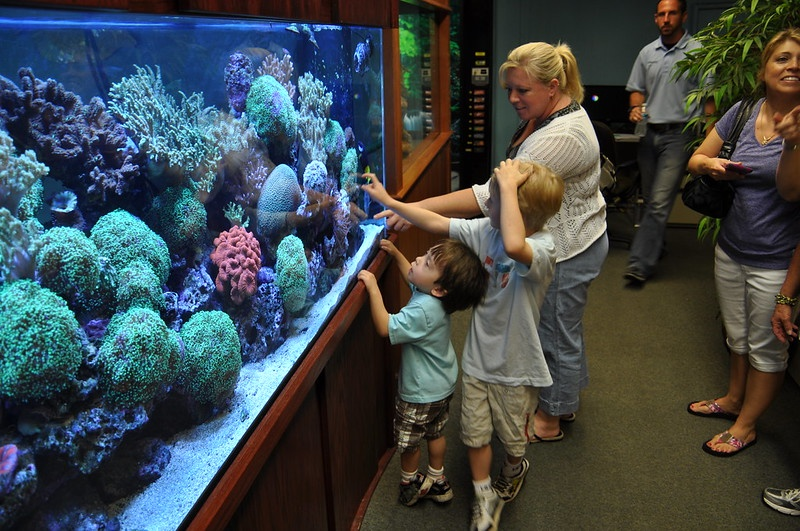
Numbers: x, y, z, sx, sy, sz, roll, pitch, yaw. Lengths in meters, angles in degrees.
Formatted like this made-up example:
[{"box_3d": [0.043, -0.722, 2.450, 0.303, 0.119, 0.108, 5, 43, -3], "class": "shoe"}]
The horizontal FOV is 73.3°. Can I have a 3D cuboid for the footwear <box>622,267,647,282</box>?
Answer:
[{"box_3d": [1.859, 0.064, 4.248, 0.085, 0.096, 0.204, -1, -4, 38], "class": "footwear"}]

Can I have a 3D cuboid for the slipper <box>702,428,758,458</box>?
[{"box_3d": [1.549, 0.859, 2.570, 0.255, 0.082, 0.110, -11, 35, 7], "class": "slipper"}]

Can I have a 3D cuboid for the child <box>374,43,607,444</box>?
[{"box_3d": [0.481, 0.042, 2.577, 0.744, 1.988, 0.934, 9, 18, 10], "class": "child"}]

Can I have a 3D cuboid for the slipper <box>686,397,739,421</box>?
[{"box_3d": [1.634, 0.752, 2.823, 0.235, 0.078, 0.095, 7, 26, 25], "class": "slipper"}]

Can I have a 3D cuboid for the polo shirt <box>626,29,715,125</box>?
[{"box_3d": [2.131, -1.487, 4.216, 0.669, 0.697, 0.314, 17, 35, 42], "class": "polo shirt"}]

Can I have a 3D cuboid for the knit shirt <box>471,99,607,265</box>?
[{"box_3d": [0.651, -0.315, 2.329, 0.400, 0.716, 0.484, 4, 19, -1], "class": "knit shirt"}]

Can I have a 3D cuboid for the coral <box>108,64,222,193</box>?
[{"box_3d": [-0.445, -0.267, 1.030, 0.084, 0.174, 0.178, -22, 53, 19], "class": "coral"}]
